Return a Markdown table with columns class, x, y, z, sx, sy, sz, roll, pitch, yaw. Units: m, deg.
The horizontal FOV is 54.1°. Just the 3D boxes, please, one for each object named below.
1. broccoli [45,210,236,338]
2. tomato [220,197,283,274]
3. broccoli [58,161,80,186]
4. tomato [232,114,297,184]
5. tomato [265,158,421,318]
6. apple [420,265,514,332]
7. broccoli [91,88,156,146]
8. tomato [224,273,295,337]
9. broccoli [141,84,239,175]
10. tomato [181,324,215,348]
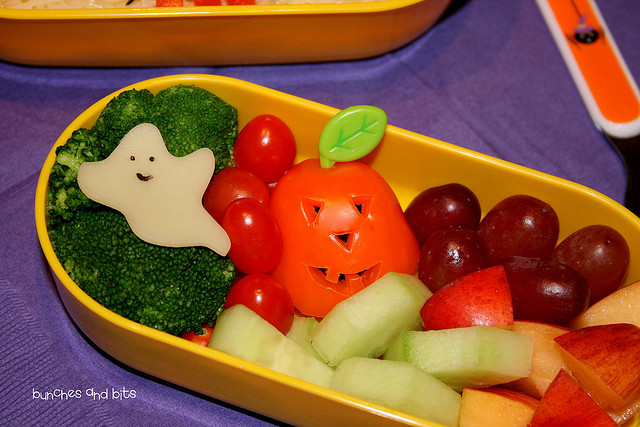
| class | x | y | z | sx | sy | sz | roll | pitch | yaw |
| --- | --- | --- | --- | --- | --- | --- | --- | --- | --- |
| broccoli | -0.403 | 0.132 | 1.401 | 0.350 | 0.271 | 0.083 | 35 | -6 | -4 |
| tomato | -0.122 | 0.037 | 1.481 | 0.193 | 0.168 | 0.152 | 12 | 20 | 27 |
| broccoli | -0.562 | -0.089 | 1.400 | 0.042 | 0.050 | 0.014 | 18 | -9 | -22 |
| tomato | -0.130 | -0.167 | 1.538 | 0.172 | 0.152 | 0.113 | 5 | 33 | 11 |
| tomato | 0.036 | 0.029 | 1.485 | 0.365 | 0.356 | 0.098 | -22 | -6 | -10 |
| apple | 0.318 | 0.193 | 1.397 | 0.188 | 0.139 | 0.107 | -1 | -10 | -7 |
| broccoli | -0.454 | -0.225 | 1.445 | 0.113 | 0.132 | 0.147 | -9 | 23 | -20 |
| tomato | -0.103 | 0.200 | 1.461 | 0.103 | 0.116 | 0.109 | -9 | 19 | -8 |
| broccoli | -0.301 | -0.210 | 1.516 | 0.224 | 0.184 | 0.092 | 17 | -12 | -4 |
| tomato | -0.275 | 0.282 | 1.433 | 0.051 | 0.056 | 0.055 | -2 | -7 | 20 |
